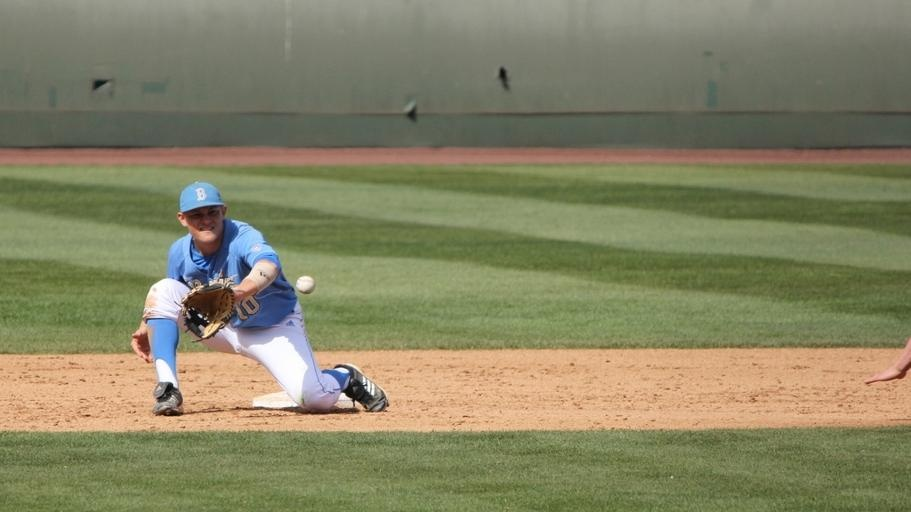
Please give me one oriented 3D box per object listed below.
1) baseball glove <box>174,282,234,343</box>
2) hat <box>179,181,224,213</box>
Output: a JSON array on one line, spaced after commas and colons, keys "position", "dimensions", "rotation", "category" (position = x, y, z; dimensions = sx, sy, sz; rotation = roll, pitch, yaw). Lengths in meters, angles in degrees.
[{"position": [-3.223, 0.704, 27.844], "dimensions": [0.684, 0.710, 0.365], "rotation": [15, 12, 15], "category": "baseball glove"}, {"position": [-3.330, -0.759, 28.317], "dimensions": [0.445, 0.256, 0.505], "rotation": [-6, 1, -8], "category": "hat"}]
